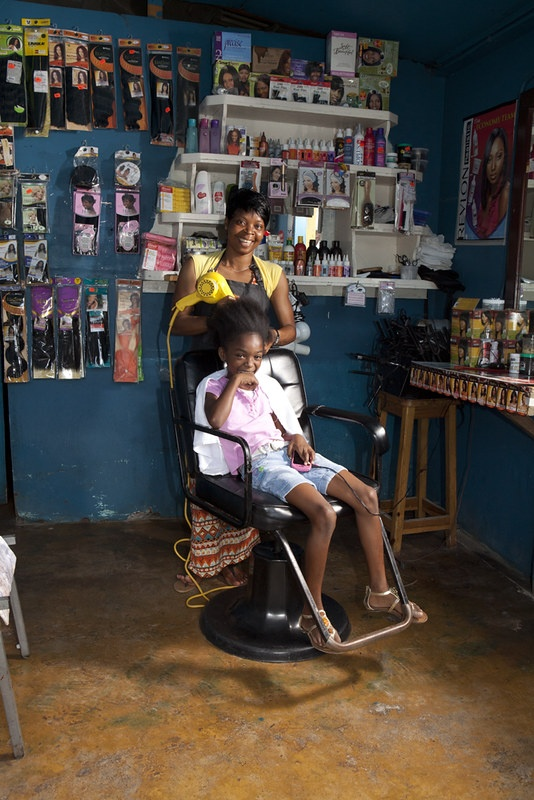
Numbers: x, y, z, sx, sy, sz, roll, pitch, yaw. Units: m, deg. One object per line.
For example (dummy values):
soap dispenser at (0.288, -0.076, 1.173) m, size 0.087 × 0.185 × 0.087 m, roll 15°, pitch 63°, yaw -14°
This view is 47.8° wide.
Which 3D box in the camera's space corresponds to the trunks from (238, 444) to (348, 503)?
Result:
trunks at (0.093, 0.234, 2.012) m, size 0.305 × 0.093 × 0.311 m, roll -7°, pitch 23°, yaw -35°

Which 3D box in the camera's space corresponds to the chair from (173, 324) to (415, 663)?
chair at (0.089, 0.308, 2.055) m, size 0.569 × 0.982 × 0.882 m, roll -4°, pitch 9°, yaw -37°

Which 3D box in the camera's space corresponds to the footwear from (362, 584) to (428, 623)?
footwear at (0.403, 0.665, 1.937) m, size 0.220 × 0.096 × 0.110 m, roll 2°, pitch 4°, yaw 14°

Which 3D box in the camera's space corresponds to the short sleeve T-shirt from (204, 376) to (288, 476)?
short sleeve T-shirt at (-0.053, 0.046, 2.097) m, size 0.298 × 0.300 × 0.162 m, roll 3°, pitch 14°, yaw 7°

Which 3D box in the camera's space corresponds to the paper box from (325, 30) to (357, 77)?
paper box at (0.383, -1.749, 3.076) m, size 0.161 × 0.209 × 0.101 m, roll 1°, pitch 6°, yaw -1°

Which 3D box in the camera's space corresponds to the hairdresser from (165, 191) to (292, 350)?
hairdresser at (-0.125, -0.469, 2.491) m, size 0.479 × 0.802 × 0.431 m, roll 6°, pitch 2°, yaw -6°

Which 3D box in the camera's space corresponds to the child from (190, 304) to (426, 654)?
child at (0.081, 0.179, 1.965) m, size 0.395 × 1.008 × 0.688 m, roll -4°, pitch 8°, yaw -42°

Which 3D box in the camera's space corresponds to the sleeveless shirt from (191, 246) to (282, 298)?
sleeveless shirt at (-0.153, -0.496, 2.628) m, size 0.374 × 0.282 × 0.194 m, roll 4°, pitch 4°, yaw -24°

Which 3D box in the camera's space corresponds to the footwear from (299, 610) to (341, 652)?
footwear at (0.152, 0.647, 1.729) m, size 0.103 × 0.141 × 0.158 m, roll 1°, pitch 6°, yaw -2°
